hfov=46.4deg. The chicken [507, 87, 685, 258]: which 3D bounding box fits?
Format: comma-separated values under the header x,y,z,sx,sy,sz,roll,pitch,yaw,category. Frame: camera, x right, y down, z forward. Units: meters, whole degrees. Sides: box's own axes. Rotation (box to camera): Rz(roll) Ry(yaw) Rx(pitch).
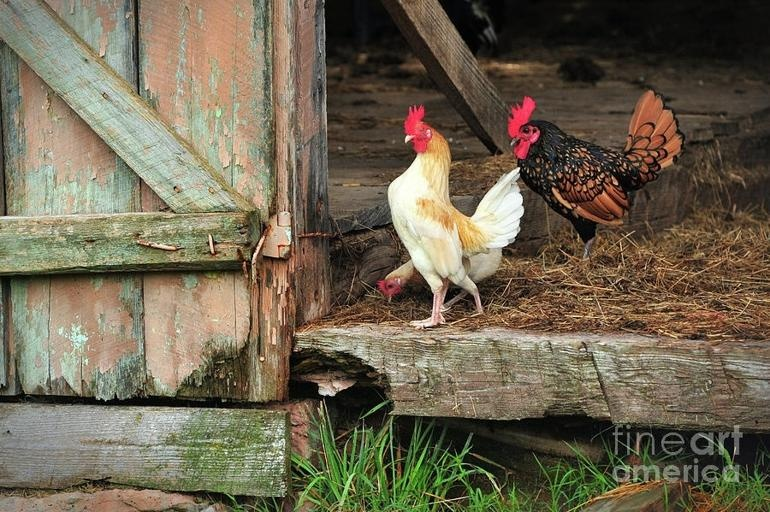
x,y,z,sx,sy,sz,roll,pitch,yaw,category
1.382,-0.543,6.081,1.260,1.151,0.577,-3,17,-15,chicken
